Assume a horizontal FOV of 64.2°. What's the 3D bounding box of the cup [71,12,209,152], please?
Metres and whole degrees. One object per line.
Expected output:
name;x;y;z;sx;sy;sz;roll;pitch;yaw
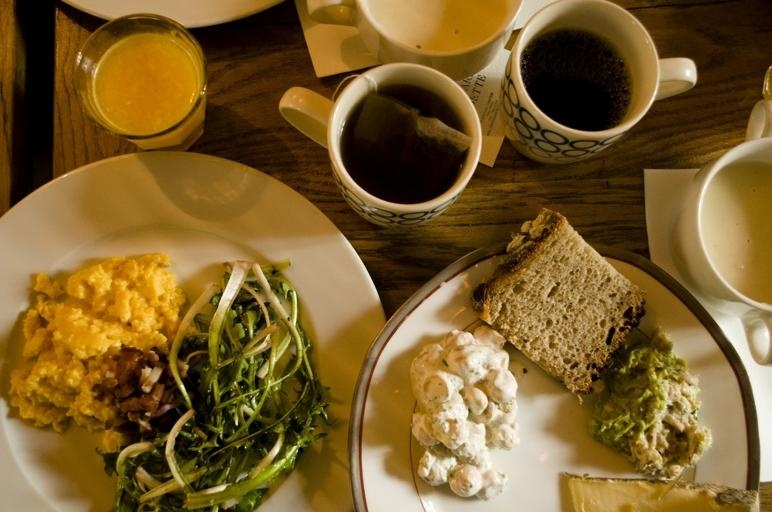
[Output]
cup;-0.631;-0.434;1.655;0.315;0.343;0.250;-1;6;-4
